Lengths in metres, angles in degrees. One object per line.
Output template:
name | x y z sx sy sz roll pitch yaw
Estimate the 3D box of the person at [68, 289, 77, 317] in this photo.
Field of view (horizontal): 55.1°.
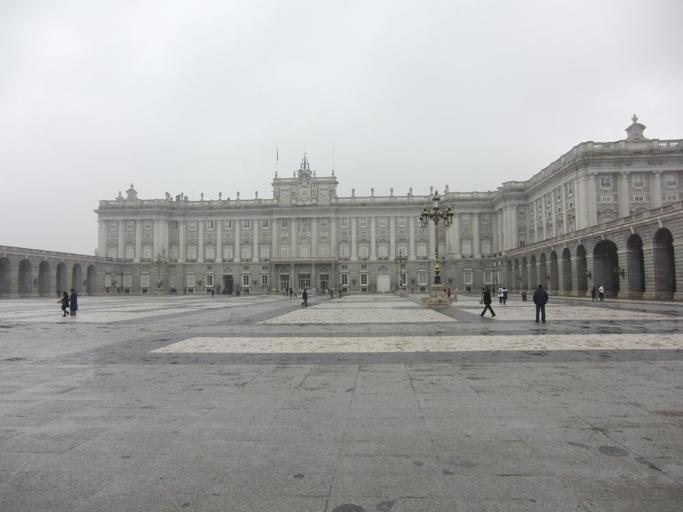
person | -11.789 1.956 28.730 0.325 1.337 1.431 -7 15 -23
